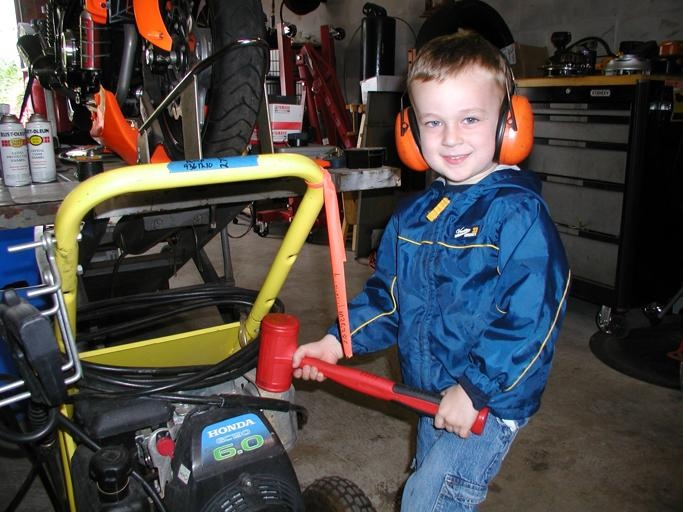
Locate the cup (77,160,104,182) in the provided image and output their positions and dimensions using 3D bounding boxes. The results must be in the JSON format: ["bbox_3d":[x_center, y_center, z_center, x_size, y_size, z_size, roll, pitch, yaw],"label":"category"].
[{"bbox_3d":[-0.779,-0.269,1.594,0.064,0.056,0.075,-13,20,-30],"label":"cup"}]

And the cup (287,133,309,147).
[{"bbox_3d":[-0.179,-0.459,2.011,0.069,0.048,0.074,-2,13,0],"label":"cup"}]
